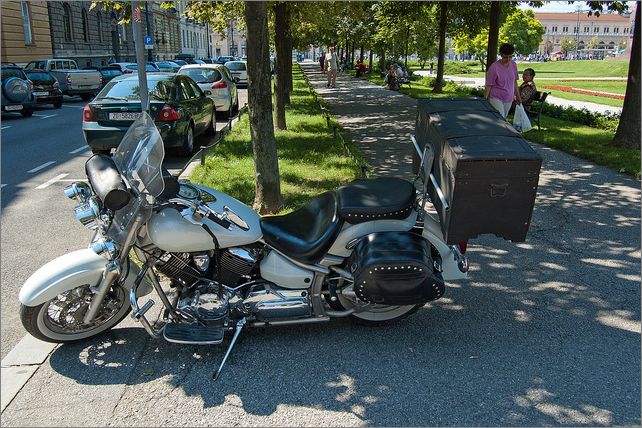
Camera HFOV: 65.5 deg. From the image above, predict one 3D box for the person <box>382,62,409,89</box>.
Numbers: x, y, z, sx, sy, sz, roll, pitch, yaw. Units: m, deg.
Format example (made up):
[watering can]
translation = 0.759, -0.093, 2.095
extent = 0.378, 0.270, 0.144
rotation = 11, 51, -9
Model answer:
[person]
translation = 4.417, -7.819, 28.606
extent = 1.156, 1.351, 2.531
rotation = 2, 23, 9

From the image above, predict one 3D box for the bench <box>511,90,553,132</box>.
[bench]
translation = 6.377, -2.928, 14.930
extent = 0.891, 1.117, 0.856
rotation = 8, 6, 30

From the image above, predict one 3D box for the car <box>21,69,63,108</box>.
[car]
translation = -11.458, -5.216, 20.696
extent = 1.115, 1.002, 1.898
rotation = -13, 33, -34
